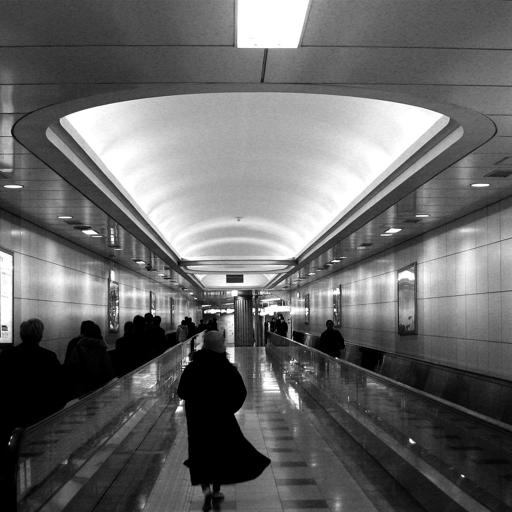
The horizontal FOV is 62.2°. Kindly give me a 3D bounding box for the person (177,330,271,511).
[{"bbox_3d":[-0.342,1.457,3.923,0.763,1.512,0.541,3,-10,-15],"label":"person"}]

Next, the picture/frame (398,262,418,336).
[{"bbox_3d":[4.401,1.284,12.450,0.132,2.080,2.099,-1,-1,36],"label":"picture/frame"}]

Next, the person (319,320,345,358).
[{"bbox_3d":[2.075,2.494,11.458,0.691,1.536,0.444,-1,11,14],"label":"person"}]
